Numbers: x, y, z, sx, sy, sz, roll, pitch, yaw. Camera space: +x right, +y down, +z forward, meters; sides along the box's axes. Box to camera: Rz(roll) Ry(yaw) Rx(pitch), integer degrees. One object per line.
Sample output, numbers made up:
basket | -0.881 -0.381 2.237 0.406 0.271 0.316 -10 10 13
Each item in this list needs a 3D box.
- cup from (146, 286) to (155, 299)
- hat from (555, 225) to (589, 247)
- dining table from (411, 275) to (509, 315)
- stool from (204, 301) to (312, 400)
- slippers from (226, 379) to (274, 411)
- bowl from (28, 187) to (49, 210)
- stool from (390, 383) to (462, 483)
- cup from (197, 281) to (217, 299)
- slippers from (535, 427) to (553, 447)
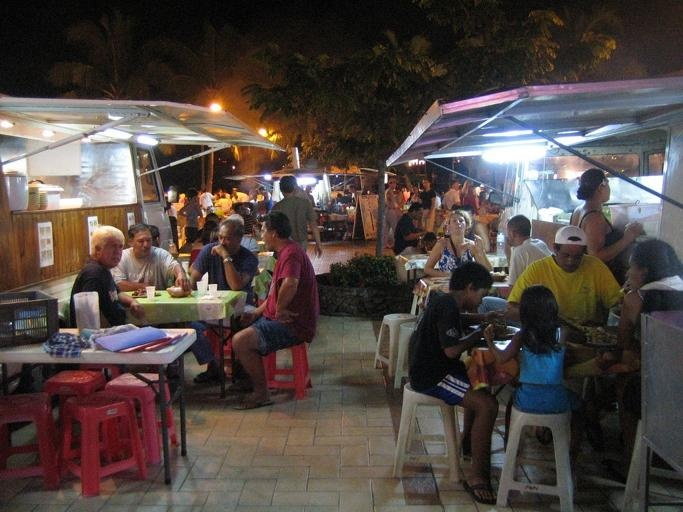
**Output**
cup | -2.184 0.424 6.107 0.126 0.150 0.128 1 4 0
hat | 2.134 -0.196 4.960 0.247 0.182 0.200 3 11 20
dining table | 1.366 0.410 6.605 0.780 0.287 0.783 0 2 3
stool | -0.789 1.046 6.466 1.085 1.464 1.191 0 -2 8
slippers | -1.146 1.601 6.083 0.726 0.278 0.239 10 -12 -33
bowl | -3.947 -0.763 6.908 0.127 0.303 0.484 -3 10 -12
stool | 0.747 1.507 4.980 0.755 1.010 0.720 0 6 6
cup | -1.580 0.397 6.253 0.249 0.162 0.171 -1 1 10
slippers | 1.984 1.781 5.230 0.144 0.168 0.188 0 -4 2
